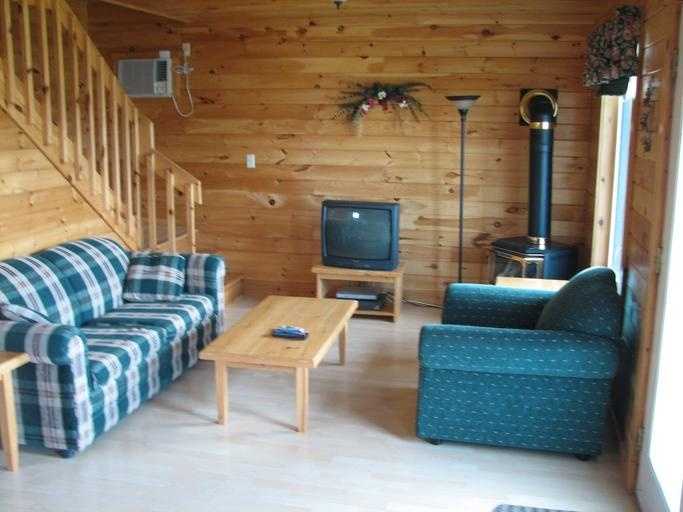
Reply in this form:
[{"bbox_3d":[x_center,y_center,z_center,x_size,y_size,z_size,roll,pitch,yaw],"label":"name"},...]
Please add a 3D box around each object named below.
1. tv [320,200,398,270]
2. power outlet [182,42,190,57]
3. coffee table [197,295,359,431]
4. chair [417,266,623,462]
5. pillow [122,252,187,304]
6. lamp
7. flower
[{"bbox_3d":[0.187,-0.195,5.235,0.951,0.499,0.440,2,8,14],"label":"tv"},{"bbox_3d":[-1.542,-2.053,5.741,0.091,0.147,0.020,6,13,13],"label":"power outlet"},{"bbox_3d":[-0.398,0.506,3.668,1.027,0.416,1.337,3,14,10],"label":"coffee table"},{"bbox_3d":[1.088,0.490,3.509,1.319,0.736,1.312,5,21,43],"label":"chair"},{"bbox_3d":[-1.417,0.157,4.444,0.536,0.321,0.124,2,-13,-3],"label":"pillow"},{"bbox_3d":[1.064,-0.580,5.304,0.348,1.727,0.576,6,12,8],"label":"lamp"},{"bbox_3d":[0.388,-1.428,5.520,1.219,0.410,0.293,0,14,10],"label":"flower"}]
